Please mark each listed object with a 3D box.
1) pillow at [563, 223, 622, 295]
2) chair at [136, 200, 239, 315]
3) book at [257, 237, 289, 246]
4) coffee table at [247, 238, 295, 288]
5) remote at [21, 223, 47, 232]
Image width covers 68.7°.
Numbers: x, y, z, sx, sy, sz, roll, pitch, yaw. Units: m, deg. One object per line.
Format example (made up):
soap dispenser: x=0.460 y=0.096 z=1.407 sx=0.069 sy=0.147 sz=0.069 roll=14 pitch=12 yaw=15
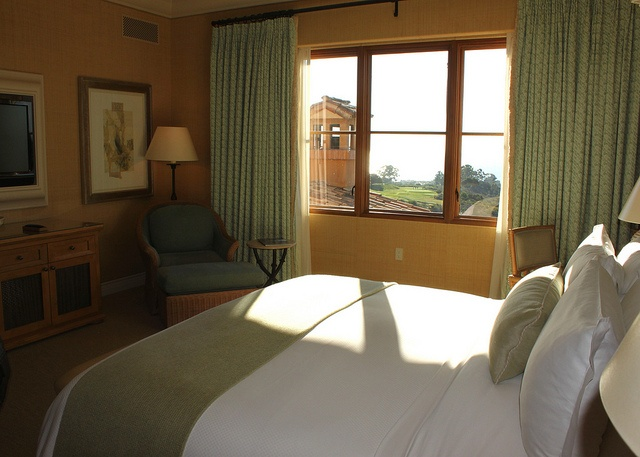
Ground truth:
pillow: x=1.640 y=0.146 z=2.764 sx=0.128 sy=0.461 sz=0.447 roll=18 pitch=-20 yaw=6
chair: x=-1.446 y=0.351 z=5.234 sx=1.029 sy=1.266 sz=1.084 roll=-2 pitch=12 yaw=-25
book: x=-0.486 y=0.148 z=5.119 sx=0.337 sy=0.013 sz=0.281 roll=-4 pitch=14 yaw=-21
coffee table: x=-0.526 y=0.470 z=5.289 sx=0.517 sy=0.619 sz=0.543 roll=1 pitch=4 yaw=25
remote: x=-2.666 y=-0.014 z=4.387 sx=0.189 sy=0.044 sz=0.332 roll=-7 pitch=15 yaw=-34
